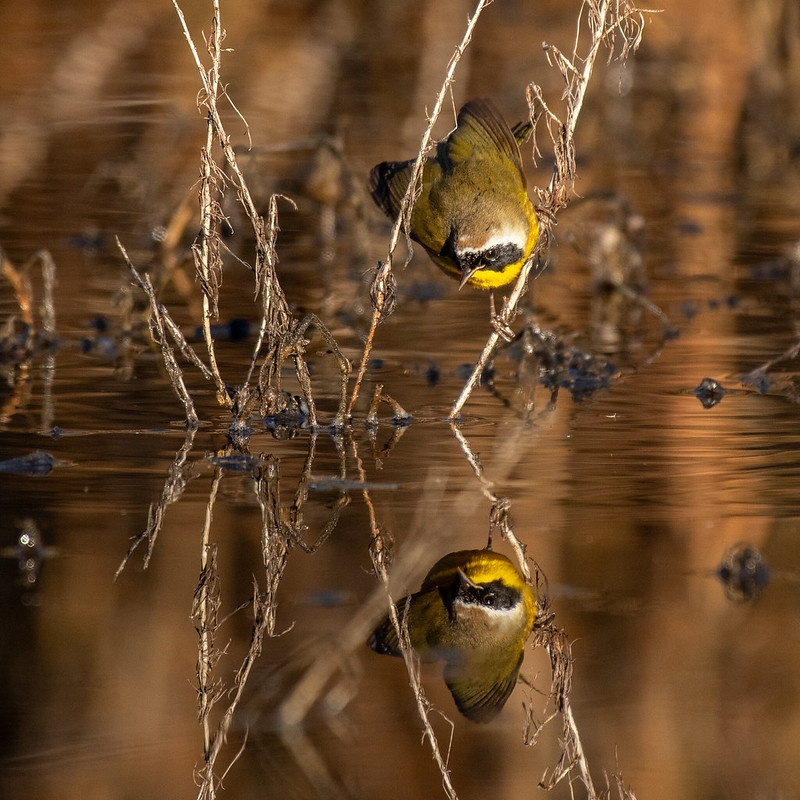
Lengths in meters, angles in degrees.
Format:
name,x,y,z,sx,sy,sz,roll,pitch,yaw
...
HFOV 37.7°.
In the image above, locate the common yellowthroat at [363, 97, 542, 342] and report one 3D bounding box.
name,x,y,z,sx,sy,sz,roll,pitch,yaw
common yellowthroat,0.214,-0.765,4.604,0.760,1.016,0.683,-7,-27,5
